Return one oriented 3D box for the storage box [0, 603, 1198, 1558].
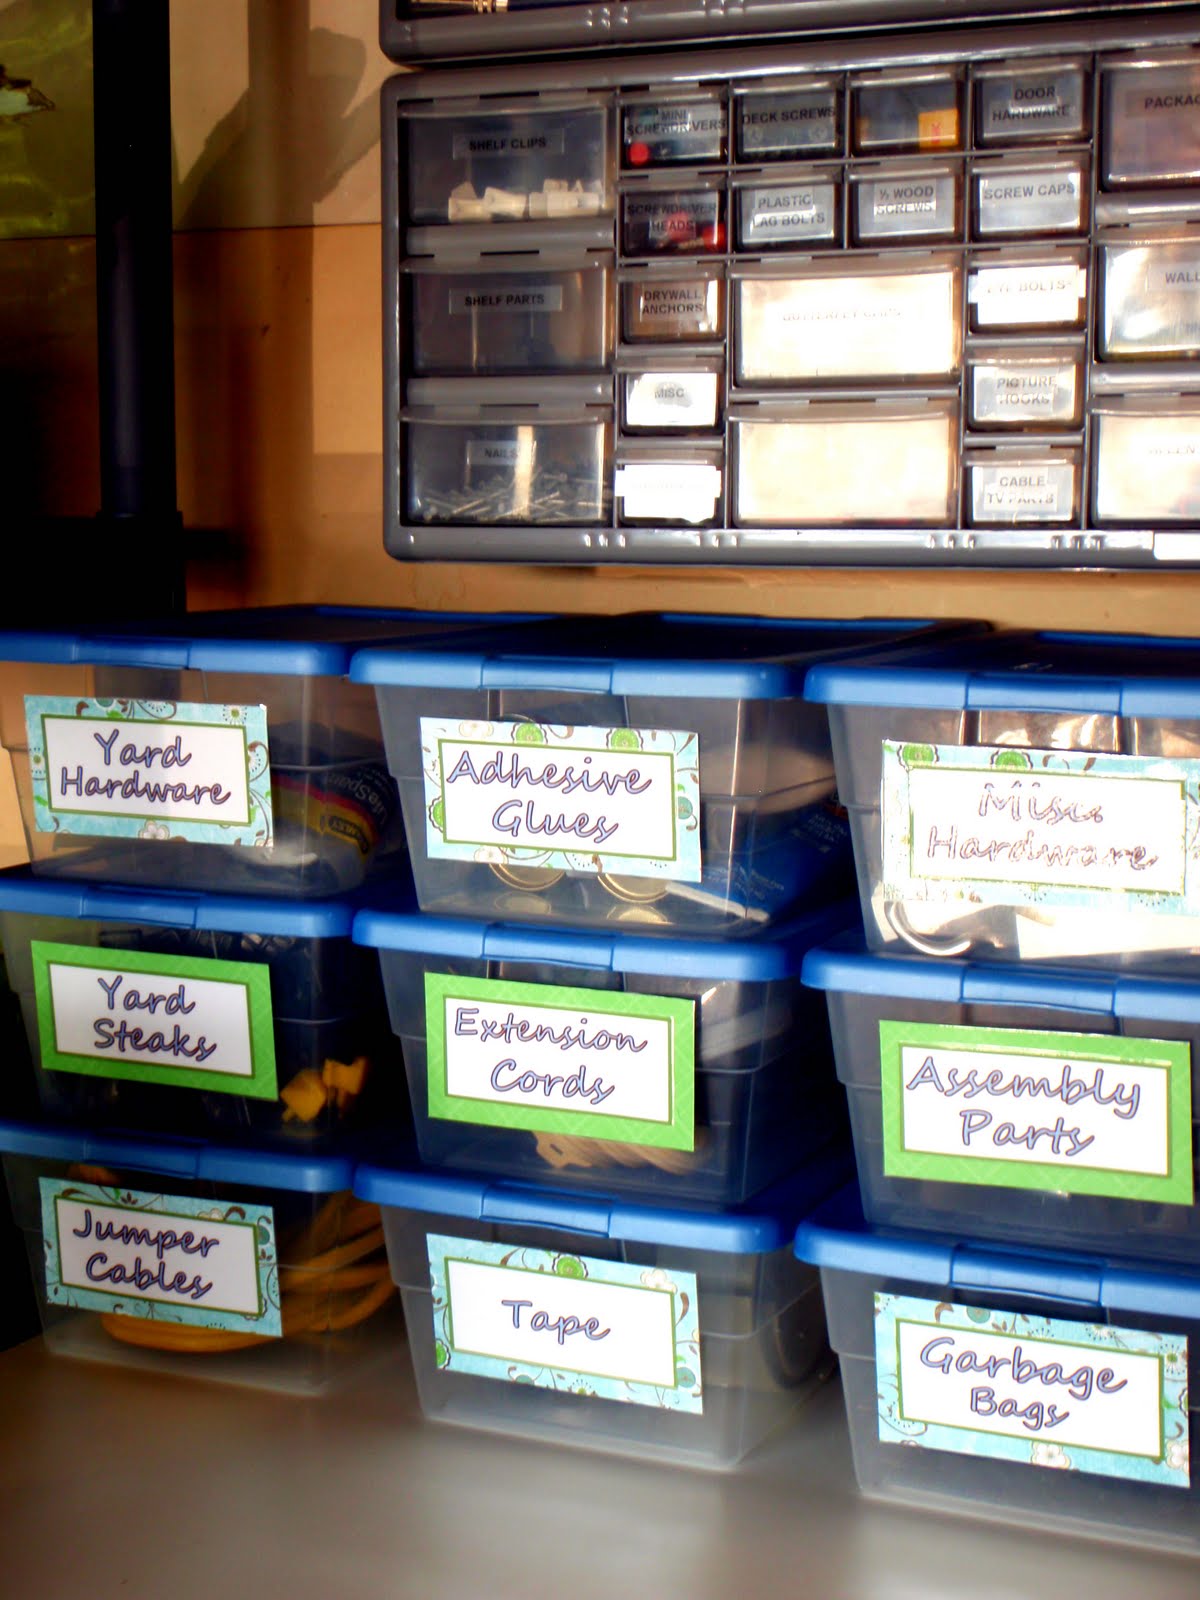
[{"bbox_3d":[0.000,0.148,0.967,0.713,0.354,0.460,2,6,24],"label":"storage box"}]
